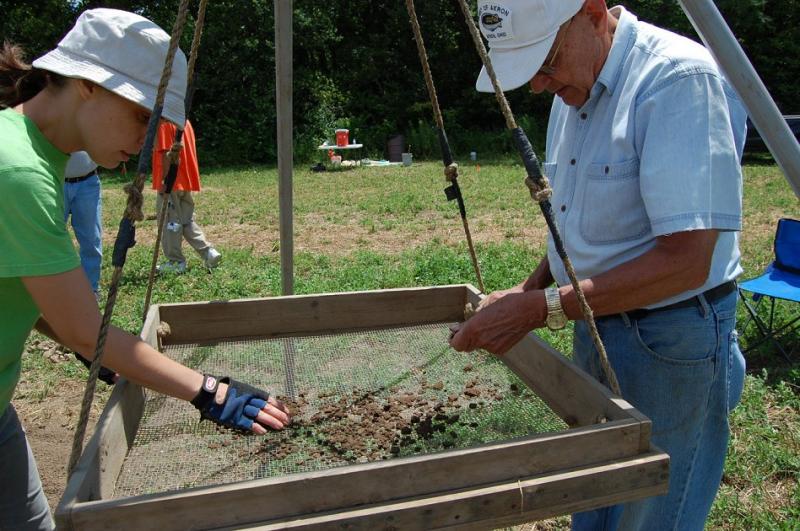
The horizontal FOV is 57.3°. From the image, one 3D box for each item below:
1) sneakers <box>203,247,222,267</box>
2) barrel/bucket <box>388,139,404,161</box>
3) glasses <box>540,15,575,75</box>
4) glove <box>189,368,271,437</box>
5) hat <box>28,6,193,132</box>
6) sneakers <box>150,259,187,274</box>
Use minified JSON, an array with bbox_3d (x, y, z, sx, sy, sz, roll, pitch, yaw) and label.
[{"bbox_3d":[-2.151,-0.119,8.471,0.194,0.152,0.290,25,2,-11],"label":"sneakers"},{"bbox_3d":[-0.097,-3.431,21.499,0.475,0.657,0.984,-1,13,-1],"label":"barrel/bucket"},{"bbox_3d":[0.673,-0.944,3.160,0.051,0.178,0.173,45,4,-26],"label":"glasses"},{"bbox_3d":[-0.726,0.606,3.197,0.328,0.227,0.138,31,-33,-27],"label":"glove"},{"bbox_3d":[-1.109,-0.826,2.948,0.510,0.284,0.477,35,-1,-36],"label":"hat"},{"bbox_3d":[-2.362,0.016,7.564,0.314,0.147,0.120,5,6,-9],"label":"sneakers"}]
